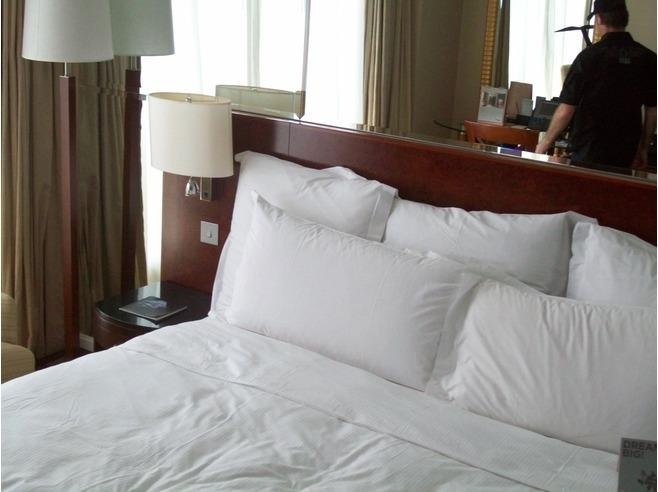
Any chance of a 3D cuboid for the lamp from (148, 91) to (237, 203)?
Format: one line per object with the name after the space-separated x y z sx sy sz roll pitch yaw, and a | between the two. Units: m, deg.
-0.579 -0.437 2.226 0.409 0.454 0.238 11 20 22 | lamp
